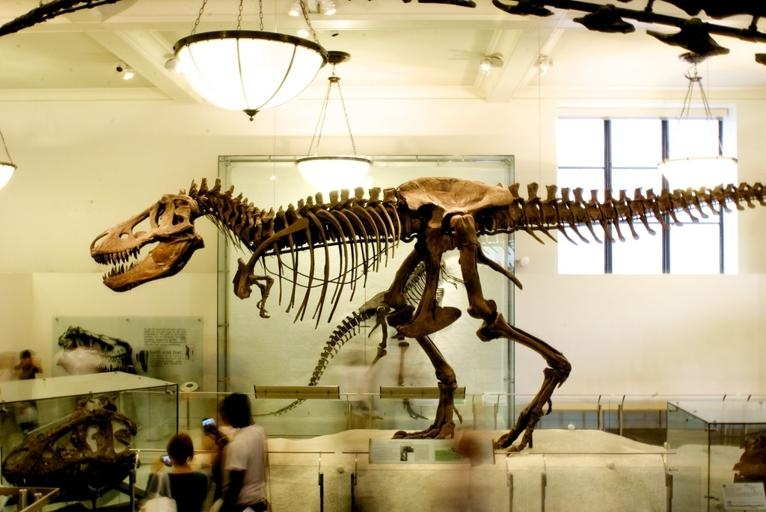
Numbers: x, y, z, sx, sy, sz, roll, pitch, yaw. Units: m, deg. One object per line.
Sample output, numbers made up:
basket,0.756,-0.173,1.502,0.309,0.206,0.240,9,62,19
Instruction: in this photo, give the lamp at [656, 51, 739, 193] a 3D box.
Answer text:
lamp,3.811,-1.485,9.010,0.879,1.464,1.457,-1,-3,21

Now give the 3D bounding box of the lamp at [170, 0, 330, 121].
lamp,-1.175,-1.628,6.194,1.020,1.308,0.977,7,-15,-23
